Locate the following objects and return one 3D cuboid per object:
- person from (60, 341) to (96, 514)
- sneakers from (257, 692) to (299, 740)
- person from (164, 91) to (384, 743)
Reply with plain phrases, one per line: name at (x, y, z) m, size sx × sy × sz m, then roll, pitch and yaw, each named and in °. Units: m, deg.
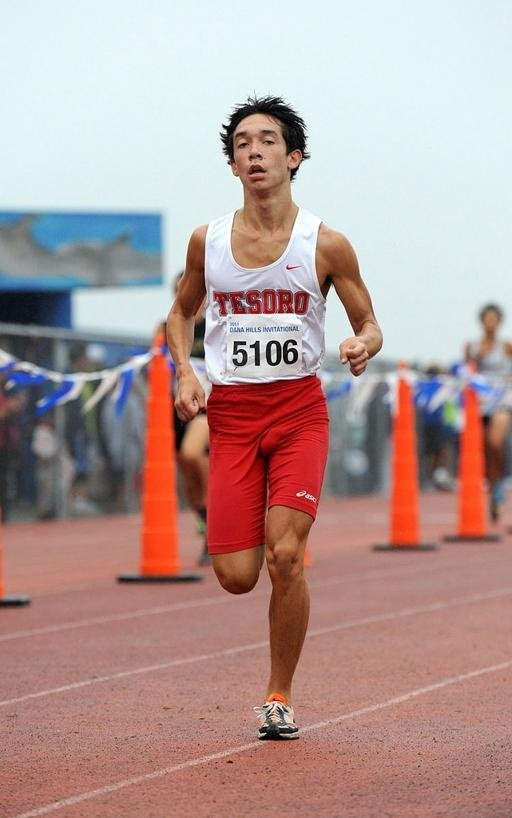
person at (-1.957, 0.198, 10.575) m, size 0.299 × 1.906 × 0.719 m, roll 0°, pitch -3°, yaw -10°
sneakers at (0.064, 0.903, 2.791) m, size 0.123 × 0.110 × 0.118 m, roll 0°, pitch -3°, yaw -7°
person at (0.021, -0.007, 2.937) m, size 0.724 × 1.982 × 0.531 m, roll -1°, pitch -4°, yaw 12°
